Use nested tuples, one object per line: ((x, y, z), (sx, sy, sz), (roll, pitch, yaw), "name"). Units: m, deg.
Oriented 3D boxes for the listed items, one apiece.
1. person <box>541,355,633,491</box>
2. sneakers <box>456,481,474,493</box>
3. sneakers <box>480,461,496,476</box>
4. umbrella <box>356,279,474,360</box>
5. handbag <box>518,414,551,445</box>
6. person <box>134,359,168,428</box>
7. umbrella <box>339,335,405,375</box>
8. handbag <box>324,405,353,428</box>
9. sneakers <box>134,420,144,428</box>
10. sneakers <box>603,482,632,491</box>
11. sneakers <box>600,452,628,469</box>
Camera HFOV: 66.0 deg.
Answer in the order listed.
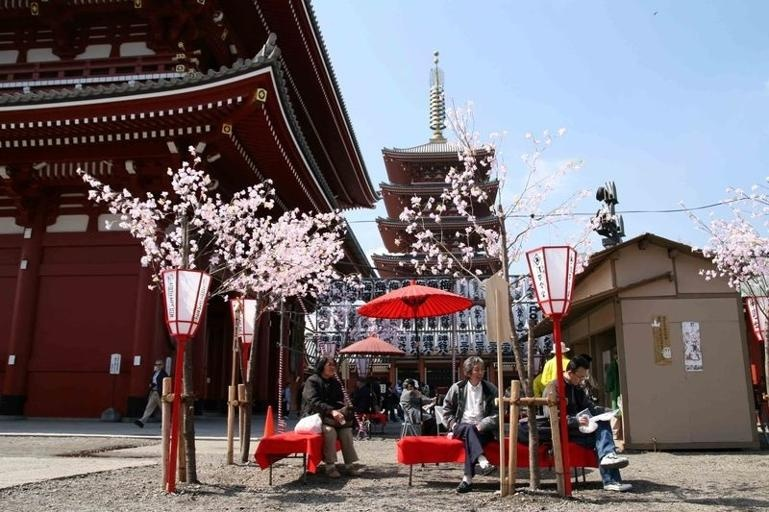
((3.231, 2.692, 9.567), (1.176, 2.085, 0.711), (-8, -17, 22), "person")
((1.267, 3.641, 9.340), (0.304, 0.117, 0.112), (9, -15, -35), "sneakers")
((1.599, 3.378, 9.493), (0.225, 0.207, 0.457), (4, -26, -14), "sneakers")
((0.856, 1.303, 15.641), (1.798, 1.340, 1.823), (2, -16, -22), "umbrella")
((2.424, 2.799, 9.556), (0.494, 0.508, 0.480), (-1, 2, 25), "handbag")
((-6.065, 3.553, 15.423), (0.675, 1.782, 1.133), (5, -17, -20), "person")
((-0.405, 3.064, 18.928), (1.378, 0.723, 1.395), (-1, -14, 11), "umbrella")
((-0.777, 2.754, 10.114), (0.389, 0.176, 0.349), (6, -6, -22), "handbag")
((-6.213, 4.253, 14.994), (0.203, 0.192, 0.338), (7, -19, -25), "sneakers")
((3.599, 3.552, 9.151), (0.347, 0.150, 0.191), (-3, -7, 17), "sneakers")
((3.526, 3.154, 9.134), (0.401, 0.235, 0.259), (-6, -17, 15), "sneakers")
